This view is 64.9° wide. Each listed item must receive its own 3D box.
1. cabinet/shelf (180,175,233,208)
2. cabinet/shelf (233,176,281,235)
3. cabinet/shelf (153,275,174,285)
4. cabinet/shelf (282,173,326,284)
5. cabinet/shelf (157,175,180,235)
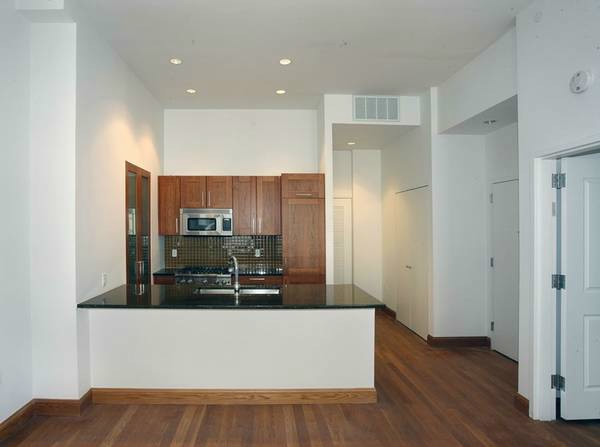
[{"bbox_3d":[-1.317,-0.433,6.621,0.729,0.404,0.159,-1,11,-9],"label":"cabinet/shelf"},{"bbox_3d":[-0.647,-0.182,6.771,0.675,0.851,0.355,3,-16,-21],"label":"cabinet/shelf"},{"bbox_3d":[-1.843,0.753,6.401,0.179,0.097,0.190,2,2,-7],"label":"cabinet/shelf"},{"bbox_3d":[0.057,0.225,6.379,0.596,1.984,0.238,2,-28,-4],"label":"cabinet/shelf"},{"bbox_3d":[-1.837,-0.244,6.639,0.271,0.830,0.078,0,-2,-3],"label":"cabinet/shelf"}]
